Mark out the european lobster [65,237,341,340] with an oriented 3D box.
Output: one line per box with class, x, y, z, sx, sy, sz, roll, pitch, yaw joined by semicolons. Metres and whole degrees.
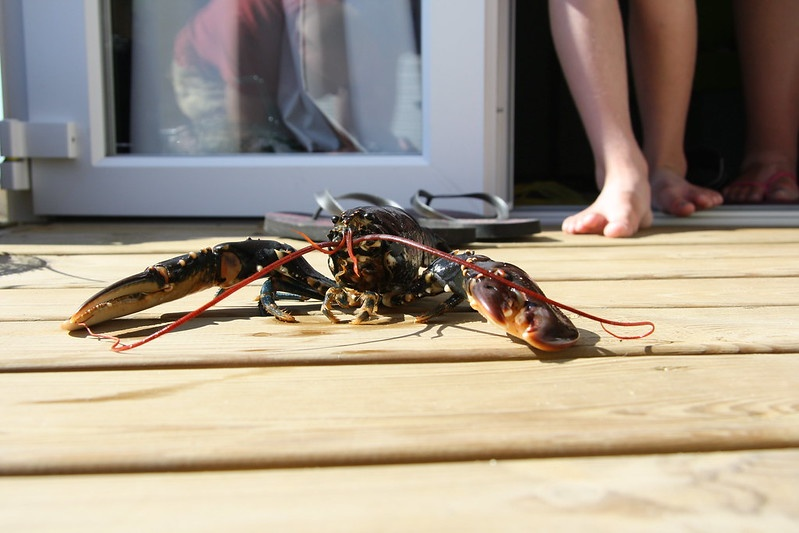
european lobster;-0.350;0.023;1.465;0.338;0.077;0.218;-18;18;-14
